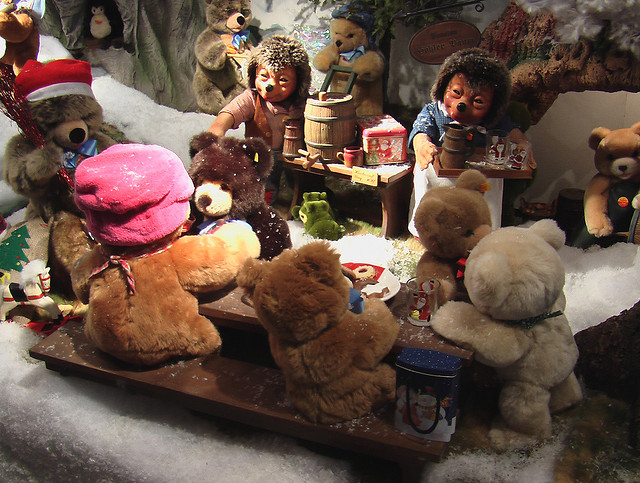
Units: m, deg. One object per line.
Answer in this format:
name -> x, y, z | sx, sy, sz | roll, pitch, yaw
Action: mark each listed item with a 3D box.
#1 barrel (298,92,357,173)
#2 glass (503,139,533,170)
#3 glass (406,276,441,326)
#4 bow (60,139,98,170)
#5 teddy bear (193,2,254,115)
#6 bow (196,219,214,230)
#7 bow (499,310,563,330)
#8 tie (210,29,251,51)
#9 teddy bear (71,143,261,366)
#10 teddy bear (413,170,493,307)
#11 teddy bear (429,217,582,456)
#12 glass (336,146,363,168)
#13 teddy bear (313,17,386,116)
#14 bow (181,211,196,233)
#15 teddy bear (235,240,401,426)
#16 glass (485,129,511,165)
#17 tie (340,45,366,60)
barrel -> 0.062, -0.873, 4.079 | 0.589, 0.671, 0.544 | 1, 18, 1
glass -> 1.304, -0.595, 3.541 | 0.225, 0.221, 0.210 | 1, 21, -1
glass -> 0.521, 0.306, 2.620 | 0.130, 0.177, 0.190 | 22, 34, 37
bow -> -1.688, -0.557, 3.507 | 0.197, 0.060, 0.206 | -29, -6, 33
teddy bear -> -0.890, -1.707, 4.799 | 0.635, 0.931, 0.386 | -13, 35, -18
bow -> -0.712, -0.109, 3.178 | 0.071, 0.066, 0.069 | 35, -4, -9
bow -> 1.006, 0.352, 2.437 | 0.166, 0.045, 0.116 | -3, 3, 1
tie -> -0.774, -1.855, 4.774 | 0.223, 0.208, 0.079 | -31, 11, 0
teddy bear -> -0.813, 0.018, 2.970 | 1.012, 1.162, 1.035 | -18, 35, -27
teddy bear -> 0.667, -0.065, 2.890 | 0.569, 0.680, 0.781 | 4, 30, 6
teddy bear -> 0.983, 0.429, 2.529 | 0.663, 0.931, 0.683 | -21, 37, -28
glass -> 0.219, -0.660, 4.053 | 0.220, 0.132, 0.131 | -5, 23, -3
teddy bear -> 0.264, -1.530, 4.772 | 0.658, 1.052, 0.615 | -8, 22, -23
bow -> -0.784, -0.114, 3.064 | 0.101, 0.121, 0.039 | -21, 52, -6
teddy bear -> 0.034, 0.408, 2.351 | 0.648, 0.792, 0.451 | 1, 33, 4
glass -> 1.199, -0.636, 3.486 | 0.177, 0.181, 0.168 | 24, 40, 35
tie -> 0.298, -1.684, 4.592 | 0.150, 0.115, 0.049 | -21, 46, 13
